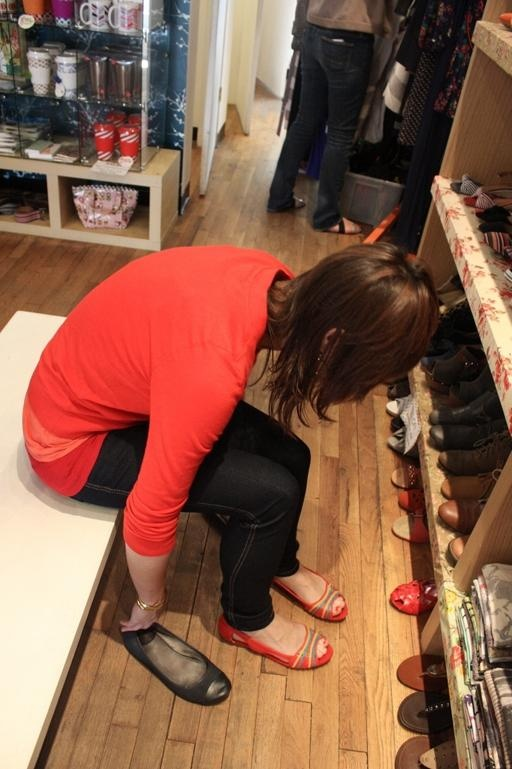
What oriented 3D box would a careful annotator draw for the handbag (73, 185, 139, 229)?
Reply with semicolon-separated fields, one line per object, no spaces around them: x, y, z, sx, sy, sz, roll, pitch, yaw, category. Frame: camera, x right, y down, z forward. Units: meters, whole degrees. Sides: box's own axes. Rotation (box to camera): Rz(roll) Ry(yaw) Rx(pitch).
-0.851;-0.994;2.853;0.276;0.215;0.050;1;36;-6;handbag

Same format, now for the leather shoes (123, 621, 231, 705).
-0.166;0.611;1.180;0.282;0.117;0.106;31;61;24;leather shoes

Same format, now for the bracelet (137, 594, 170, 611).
-0.209;0.443;1.020;0.048;0.042;0.021;1;56;-6;bracelet

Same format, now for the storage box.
0.788;-1.234;3.491;0.375;0.267;0.269;30;28;17;storage box

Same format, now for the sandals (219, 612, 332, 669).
0.044;0.607;1.247;0.272;0.111;0.117;12;34;11;sandals

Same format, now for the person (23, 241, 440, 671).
-0.087;0.099;1.011;0.627;0.901;0.479;12;38;1;person
